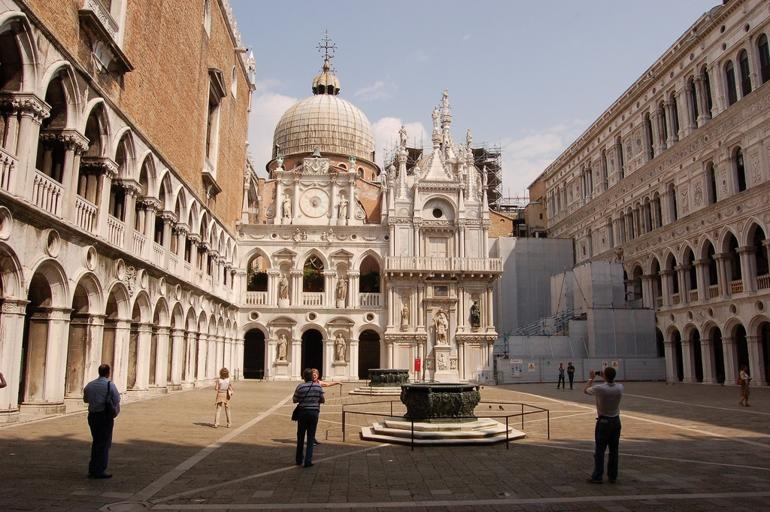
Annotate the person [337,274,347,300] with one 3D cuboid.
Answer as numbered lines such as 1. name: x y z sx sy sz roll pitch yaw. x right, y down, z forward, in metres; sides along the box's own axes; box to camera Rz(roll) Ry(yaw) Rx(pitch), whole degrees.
1. person: -3.302 2.441 53.447 0.764 1.710 0.415 7 -15 -28

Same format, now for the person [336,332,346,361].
1. person: -3.366 6.816 52.519 0.822 2.098 0.393 2 -13 -7

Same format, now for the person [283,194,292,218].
1. person: -7.770 -4.010 54.807 0.606 1.997 0.280 -3 -14 13

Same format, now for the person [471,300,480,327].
1. person: 6.905 4.342 52.971 0.733 2.029 0.352 1 -13 -4

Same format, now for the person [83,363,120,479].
1. person: -7.846 4.478 19.063 0.876 3.061 1.098 5 -14 -21

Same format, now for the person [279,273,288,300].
1. person: -7.759 2.330 53.352 0.729 1.913 0.407 3 -13 -10

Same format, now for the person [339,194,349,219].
1. person: -3.312 -4.034 55.195 0.672 1.913 0.479 9 -16 -34

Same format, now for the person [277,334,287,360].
1. person: -7.796 6.849 52.555 0.721 2.045 0.271 5 -14 -19

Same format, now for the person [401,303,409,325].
1. person: 1.539 4.419 52.740 0.566 1.532 0.278 7 -15 -25

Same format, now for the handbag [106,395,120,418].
1. handbag: -7.403 4.028 18.793 0.339 0.725 0.512 1 -11 -8
